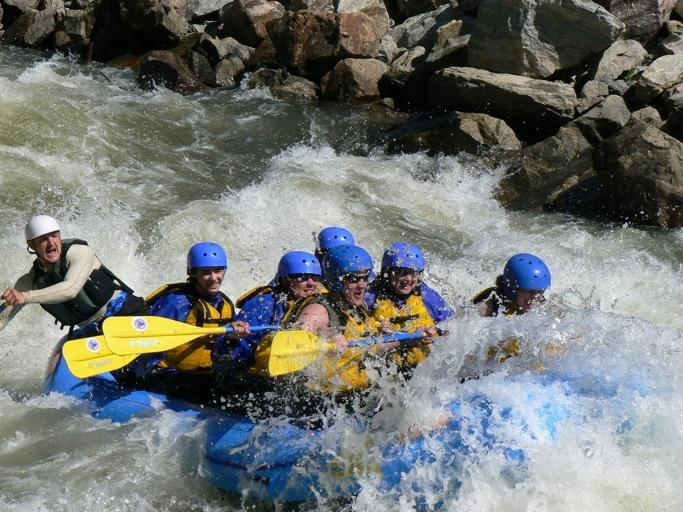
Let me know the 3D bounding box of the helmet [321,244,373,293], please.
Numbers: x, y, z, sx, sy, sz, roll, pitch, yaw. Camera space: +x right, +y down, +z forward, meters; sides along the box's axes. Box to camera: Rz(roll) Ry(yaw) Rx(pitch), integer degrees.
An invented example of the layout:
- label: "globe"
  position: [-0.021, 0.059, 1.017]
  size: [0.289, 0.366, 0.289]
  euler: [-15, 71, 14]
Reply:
- label: "helmet"
  position: [0.048, 0.118, 9.635]
  size: [0.434, 0.499, 0.576]
  euler: [-3, 9, -38]

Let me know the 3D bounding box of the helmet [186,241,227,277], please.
- label: "helmet"
  position: [-1.495, -0.017, 10.083]
  size: [0.287, 0.372, 0.401]
  euler: [2, -33, -17]

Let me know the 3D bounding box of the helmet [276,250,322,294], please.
- label: "helmet"
  position: [-0.539, 0.181, 10.391]
  size: [0.360, 0.403, 0.515]
  euler: [11, -37, -30]

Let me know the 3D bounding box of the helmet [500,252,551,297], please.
- label: "helmet"
  position: [2.066, 0.204, 10.123]
  size: [0.424, 0.439, 0.560]
  euler: [-9, 35, -20]

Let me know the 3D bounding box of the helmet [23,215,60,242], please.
- label: "helmet"
  position: [-3.385, -0.292, 10.140]
  size: [0.314, 0.219, 0.277]
  euler: [20, 39, 36]

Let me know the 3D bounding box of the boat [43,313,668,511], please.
- label: "boat"
  position: [-0.290, 1.751, 9.462]
  size: [4.893, 0.942, 2.553]
  euler: [0, 22, 1]

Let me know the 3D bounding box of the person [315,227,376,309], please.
- label: "person"
  position: [0.064, 0.087, 9.724]
  size: [0.531, 0.625, 0.729]
  euler: [-9, 25, -42]

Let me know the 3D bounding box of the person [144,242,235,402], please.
- label: "person"
  position: [-1.644, 0.682, 10.247]
  size: [0.999, 1.705, 1.150]
  euler: [14, 8, 35]

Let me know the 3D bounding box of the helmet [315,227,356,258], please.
- label: "helmet"
  position: [-0.094, -0.201, 10.915]
  size: [0.299, 0.343, 0.418]
  euler: [18, 21, 7]

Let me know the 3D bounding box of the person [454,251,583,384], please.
- label: "person"
  position: [1.936, 0.867, 10.197]
  size: [0.819, 1.834, 1.073]
  euler: [3, 15, 2]
